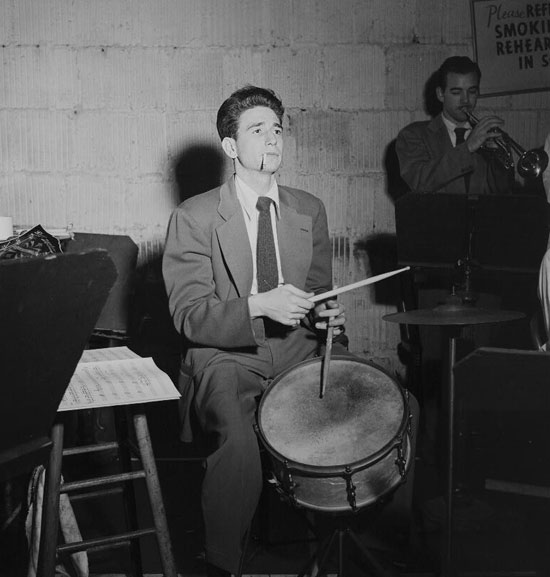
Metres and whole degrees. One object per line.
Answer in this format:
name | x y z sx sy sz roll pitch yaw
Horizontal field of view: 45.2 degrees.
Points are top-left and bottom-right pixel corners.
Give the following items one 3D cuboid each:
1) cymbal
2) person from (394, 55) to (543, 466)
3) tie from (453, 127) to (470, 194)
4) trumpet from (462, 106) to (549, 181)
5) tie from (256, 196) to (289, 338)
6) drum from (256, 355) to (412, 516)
cymbal | 0.660 0.090 2.314 0.142 0.066 0.183 2 15 -4
person | 0.746 -0.593 3.125 0.540 1.066 0.533 0 -5 -9
tie | 0.832 -0.574 2.927 0.049 0.230 0.148 2 4 -15
trumpet | 0.997 -0.635 2.909 0.412 0.172 0.162 50 2 21
tie | -0.032 -0.137 2.221 0.059 0.335 0.067 15 -24 -40
drum | 0.157 0.387 1.741 0.377 0.184 0.431 -7 30 7
